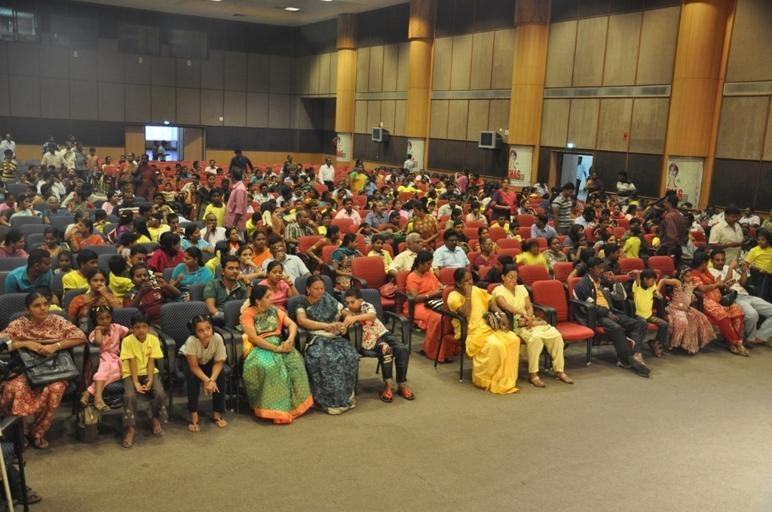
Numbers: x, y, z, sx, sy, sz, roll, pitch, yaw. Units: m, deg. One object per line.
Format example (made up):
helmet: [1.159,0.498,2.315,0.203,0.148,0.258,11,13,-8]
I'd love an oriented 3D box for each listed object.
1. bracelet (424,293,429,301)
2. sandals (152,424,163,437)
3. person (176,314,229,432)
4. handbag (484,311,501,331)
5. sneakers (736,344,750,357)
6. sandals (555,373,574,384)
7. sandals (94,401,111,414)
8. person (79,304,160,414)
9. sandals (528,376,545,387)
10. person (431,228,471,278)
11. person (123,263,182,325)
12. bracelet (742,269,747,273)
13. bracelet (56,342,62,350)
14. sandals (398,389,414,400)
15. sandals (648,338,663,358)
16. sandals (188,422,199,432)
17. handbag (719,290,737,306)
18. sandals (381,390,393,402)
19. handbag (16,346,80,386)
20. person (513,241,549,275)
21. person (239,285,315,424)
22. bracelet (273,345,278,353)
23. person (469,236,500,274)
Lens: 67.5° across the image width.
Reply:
bracelet: [0.638,0.636,8.859,0.027,0.084,0.085,1,-3,-13]
sandals: [-2.657,2.027,6.709,0.126,0.084,0.312,7,-5,-20]
person: [-2.136,1.370,6.876,0.539,1.327,0.591,-3,10,-28]
handbag: [1.530,0.907,8.105,0.149,0.108,0.324,-14,15,3]
sneakers: [5.827,1.544,9.441,0.154,0.080,0.220,-5,22,-4]
sandals: [2.561,1.738,8.314,0.098,0.118,0.284,-13,16,-37]
sandals: [-3.169,1.683,6.452,0.152,0.151,0.160,-3,9,-29]
person: [-3.248,1.150,6.640,0.505,1.112,0.594,4,9,20]
sandals: [2.135,1.772,8.168,0.093,0.115,0.270,-7,1,-12]
person: [1.111,-0.043,9.911,0.901,0.742,0.617,-8,10,-30]
person: [-3.018,0.515,7.421,0.535,0.473,0.896,-12,38,-43]
bracelet: [6.314,0.266,10.155,0.060,0.058,0.052,-13,22,-27]
bracelet: [-3.621,1.007,6.395,0.045,0.064,0.069,6,-6,10]
sandals: [0.278,1.831,7.704,0.224,0.123,0.178,1,8,0]
sandals: [4.332,1.452,9.255,0.158,0.367,0.136,-14,1,13]
sandals: [-2.267,1.992,6.837,0.128,0.103,0.177,-2,9,-19]
handbag: [5.695,0.676,9.598,0.170,0.179,0.423,4,35,31]
sandals: [0.026,1.839,7.674,0.162,0.132,0.234,1,8,1]
handbag: [-3.684,1.211,6.314,0.553,0.360,0.308,-4,10,-32]
person: [2.472,0.048,9.844,0.547,0.881,0.303,-5,-7,-13]
person: [-1.447,1.188,7.225,0.825,1.619,0.639,8,11,37]
bracelet: [-1.355,1.154,7.207,0.074,0.067,0.047,-2,9,-21]
person: [1.717,-0.003,9.931,0.551,0.751,0.539,0,3,-28]
